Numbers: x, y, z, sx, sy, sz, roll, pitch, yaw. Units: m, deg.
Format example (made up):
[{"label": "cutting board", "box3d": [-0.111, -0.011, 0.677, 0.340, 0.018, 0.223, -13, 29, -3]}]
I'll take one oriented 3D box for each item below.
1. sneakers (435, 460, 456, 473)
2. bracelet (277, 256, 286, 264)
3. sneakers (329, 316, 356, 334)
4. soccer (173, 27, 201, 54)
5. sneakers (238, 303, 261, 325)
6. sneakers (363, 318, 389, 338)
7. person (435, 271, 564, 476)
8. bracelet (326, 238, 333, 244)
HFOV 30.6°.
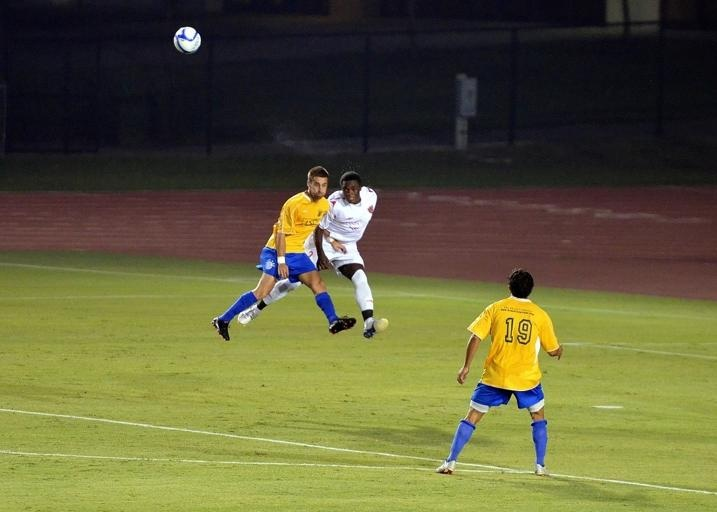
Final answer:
[{"label": "sneakers", "box3d": [0.889, 2.133, 13.271, 0.187, 0.142, 0.244, 2, 5, 6]}, {"label": "bracelet", "box3d": [-1.023, 0.066, 17.450, 0.112, 0.086, 0.091, -2, 6, -8]}, {"label": "sneakers", "box3d": [-0.206, 0.920, 17.463, 0.279, 0.233, 0.295, -1, 6, -26]}, {"label": "soccer", "box3d": [-4.310, -5.436, 32.844, 0.521, 0.583, 0.598, 2, 5, 4]}, {"label": "sneakers", "box3d": [-1.425, 0.805, 18.349, 0.209, 0.149, 0.482, -5, 23, 48]}, {"label": "sneakers", "box3d": [0.285, 0.974, 17.539, 0.216, 0.147, 0.452, 6, -14, -25]}, {"label": "person", "box3d": [1.511, 1.188, 13.269, 1.077, 2.047, 0.531, 2, 6, 5]}, {"label": "bracelet", "box3d": [-0.391, -0.202, 18.183, 0.077, 0.049, 0.079, 7, 10, 43]}]
